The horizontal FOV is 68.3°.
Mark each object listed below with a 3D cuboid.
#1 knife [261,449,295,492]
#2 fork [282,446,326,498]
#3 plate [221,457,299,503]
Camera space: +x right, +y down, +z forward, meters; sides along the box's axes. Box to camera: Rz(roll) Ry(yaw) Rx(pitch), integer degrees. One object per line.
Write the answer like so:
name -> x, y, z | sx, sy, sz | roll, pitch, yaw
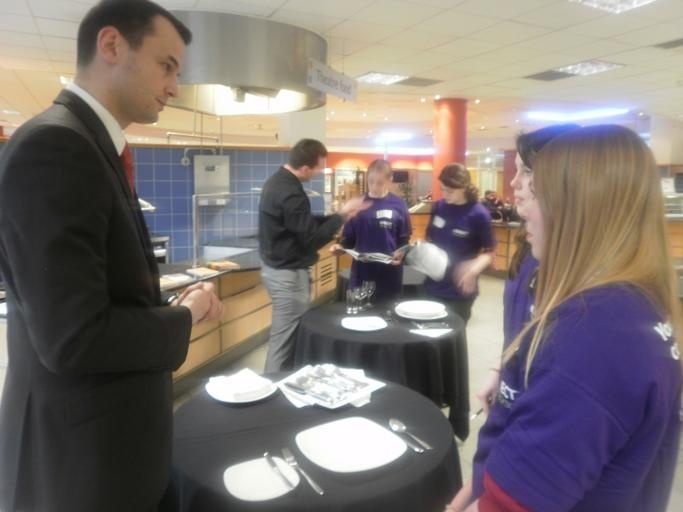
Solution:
knife -> -0.174, 0.586, 1.369 | 0.033, 0.021, 0.248 | -24, 16, -15
fork -> -0.111, 0.575, 1.386 | 0.041, 0.032, 0.303 | -15, 9, -19
plate -> -0.221, 0.598, 1.341 | 0.155, 0.026, 0.182 | -12, 19, -43
